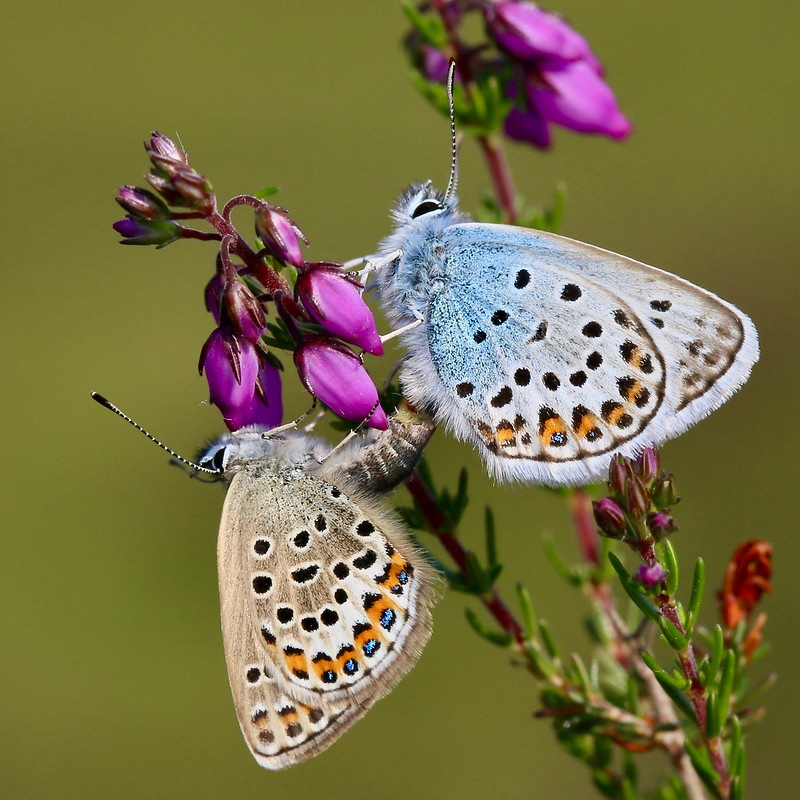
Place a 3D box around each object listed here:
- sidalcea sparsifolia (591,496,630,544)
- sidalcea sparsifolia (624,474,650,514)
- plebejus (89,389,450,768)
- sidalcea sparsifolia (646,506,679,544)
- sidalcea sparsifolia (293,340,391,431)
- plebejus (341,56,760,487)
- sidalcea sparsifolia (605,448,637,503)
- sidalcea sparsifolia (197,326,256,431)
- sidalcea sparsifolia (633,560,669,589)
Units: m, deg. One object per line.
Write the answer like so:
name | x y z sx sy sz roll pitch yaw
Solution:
sidalcea sparsifolia | 0.644 0.373 3.466 0.085 0.056 0.146 -26 98 -24
sidalcea sparsifolia | 0.722 0.292 3.413 0.061 0.041 0.108 -14 90 -14
plebejus | -0.238 0.643 4.151 0.900 0.673 1.191 -9 67 -9
sidalcea sparsifolia | 0.807 0.389 3.422 0.091 0.106 0.083 -7 65 -7
sidalcea sparsifolia | -0.197 -0.049 3.812 0.187 0.119 0.342 -39 90 -6
plebejus | 0.474 -0.230 4.173 1.468 0.733 0.819 38 68 12
sidalcea sparsifolia | 0.681 0.239 3.444 0.071 0.060 0.150 -5 77 23
sidalcea sparsifolia | -0.576 -0.086 3.736 0.165 0.172 0.350 -5 111 -21
sidalcea sparsifolia | 0.761 0.537 3.382 0.079 0.074 0.059 -7 54 -2
